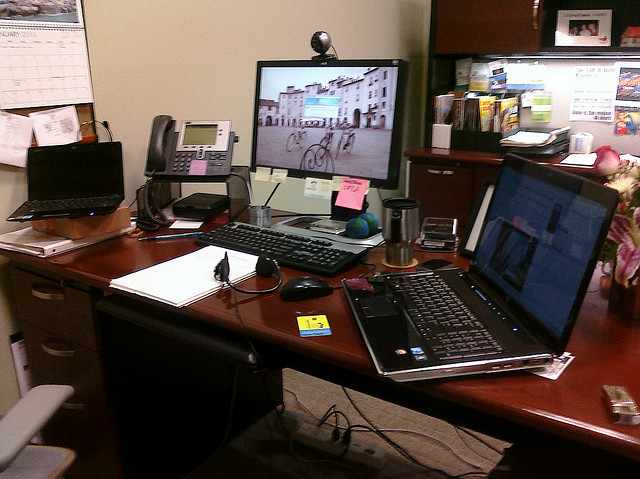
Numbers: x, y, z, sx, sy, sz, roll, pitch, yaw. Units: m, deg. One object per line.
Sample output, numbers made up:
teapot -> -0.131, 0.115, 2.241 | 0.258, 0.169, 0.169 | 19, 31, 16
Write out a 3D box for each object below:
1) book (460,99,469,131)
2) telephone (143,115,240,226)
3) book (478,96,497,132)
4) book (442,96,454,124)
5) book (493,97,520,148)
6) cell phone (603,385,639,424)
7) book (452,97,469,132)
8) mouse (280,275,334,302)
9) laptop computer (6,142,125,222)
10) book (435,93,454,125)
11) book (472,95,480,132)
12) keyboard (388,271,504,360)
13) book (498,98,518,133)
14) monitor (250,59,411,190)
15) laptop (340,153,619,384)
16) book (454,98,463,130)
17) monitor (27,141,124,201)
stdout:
book -> 0.884, -0.766, 3.011 | 0.051, 0.145, 0.174 | 6, 13, 12
telephone -> -0.461, -0.264, 1.966 | 0.466, 0.280, 0.429 | 4, 47, -1
book -> 1.007, -0.757, 2.972 | 0.033, 0.180, 0.243 | 14, 26, 43
book -> 0.802, -0.823, 3.110 | 0.068, 0.165, 0.048 | 2, 22, 5
book -> 1.139, -0.731, 3.038 | 0.162, 0.290, 0.435 | 9, 20, 22
cell phone -> 0.550, 0.299, 0.906 | 0.060, 0.023, 0.081 | -2, 27, 8
book -> 0.858, -0.778, 3.038 | 0.123, 0.183, 0.059 | 18, 28, 40
mouse -> -0.037, 0.125, 1.291 | 0.133, 0.030, 0.062 | -6, 17, -22
laptop computer -> -0.852, -0.198, 1.653 | 0.345, 0.236, 0.268 | -3, 19, -11
book -> 0.805, -0.824, 3.100 | 0.118, 0.184, 0.148 | -7, 21, -18
book -> 0.938, -0.757, 2.965 | 0.055, 0.155, 0.189 | 1, 14, 13
keyboard -> 0.271, 0.171, 1.159 | 0.178, 0.035, 0.353 | -11, 29, -6
book -> 1.174, -0.784, 3.083 | 0.052, 0.210, 0.350 | 12, 26, 36
monitor -> 0.030, -0.409, 1.714 | 0.674, 0.342, 0.064 | 9, 16, 22
laptop -> 0.305, 0.052, 1.147 | 0.583, 0.291, 0.521 | -10, 19, 9
book -> 0.848, -0.776, 3.043 | 0.049, 0.143, 0.177 | 6, 10, 14
monitor -> -0.875, -0.276, 1.860 | 0.476, 0.190, 0.255 | -2, 25, -13
